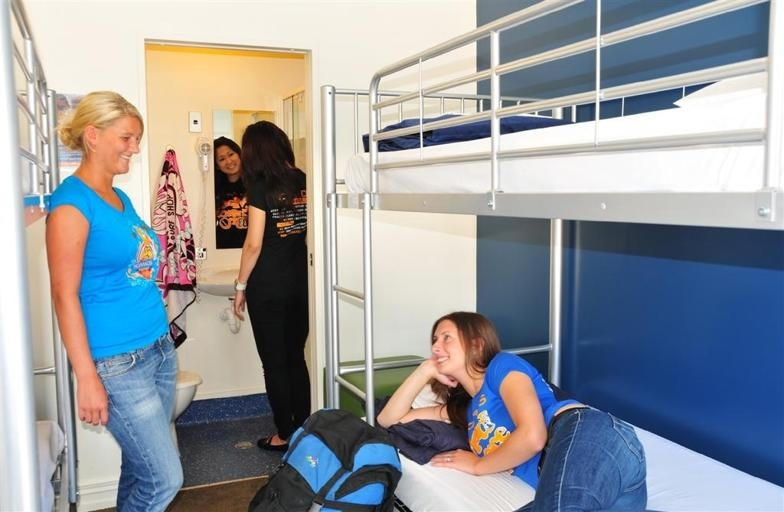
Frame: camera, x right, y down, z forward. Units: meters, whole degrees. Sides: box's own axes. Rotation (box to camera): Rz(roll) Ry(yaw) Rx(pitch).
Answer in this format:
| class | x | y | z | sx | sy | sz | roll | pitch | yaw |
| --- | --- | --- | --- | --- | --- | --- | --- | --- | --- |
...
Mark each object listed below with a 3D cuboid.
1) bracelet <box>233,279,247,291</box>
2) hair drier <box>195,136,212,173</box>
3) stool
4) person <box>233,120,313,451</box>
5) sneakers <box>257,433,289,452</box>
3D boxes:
| class | x | y | z | sx | sy | sz | roll | pitch | yaw |
| --- | --- | --- | --- | --- | --- | --- | --- | --- | --- |
| bracelet | -1.062 | 0.201 | 3.692 | 0.065 | 0.063 | 0.082 | 13 | 20 | -33 |
| hair drier | -1.511 | -0.800 | 4.257 | 0.150 | 0.252 | 0.064 | -3 | 12 | -18 |
| stool | -0.109 | 0.930 | 3.434 | 0.554 | 0.256 | 0.380 | -2 | 3 | -32 |
| person | -0.831 | 0.217 | 3.672 | 0.529 | 2.243 | 0.432 | -3 | 10 | -14 |
| sneakers | -0.841 | 1.309 | 3.736 | 0.255 | 0.096 | 0.092 | 7 | 4 | 17 |
